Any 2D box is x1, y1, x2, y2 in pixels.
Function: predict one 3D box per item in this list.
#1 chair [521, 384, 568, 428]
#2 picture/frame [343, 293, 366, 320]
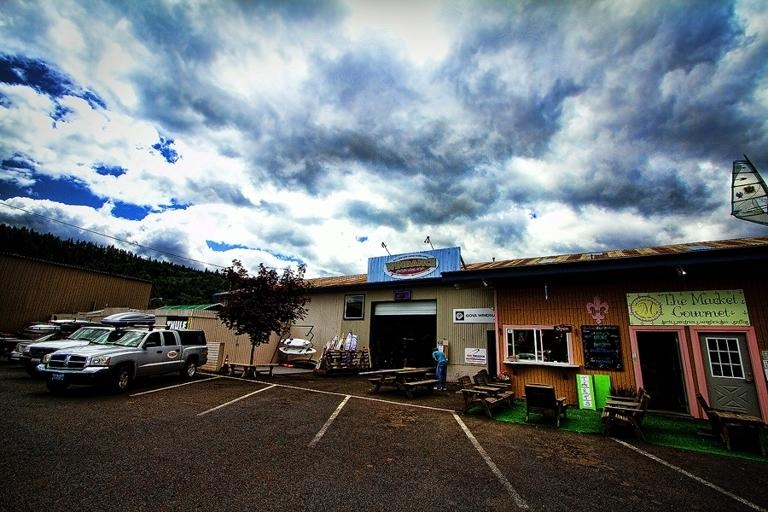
[{"bbox_3d":[5.393,4.855,11.430,1.373,1.374,1.643,-7,-17,32],"label":"chair"},{"bbox_3d":[-1.738,3.275,21.759,1.546,1.613,0.131,-11,-20,32],"label":"picture/frame"}]
